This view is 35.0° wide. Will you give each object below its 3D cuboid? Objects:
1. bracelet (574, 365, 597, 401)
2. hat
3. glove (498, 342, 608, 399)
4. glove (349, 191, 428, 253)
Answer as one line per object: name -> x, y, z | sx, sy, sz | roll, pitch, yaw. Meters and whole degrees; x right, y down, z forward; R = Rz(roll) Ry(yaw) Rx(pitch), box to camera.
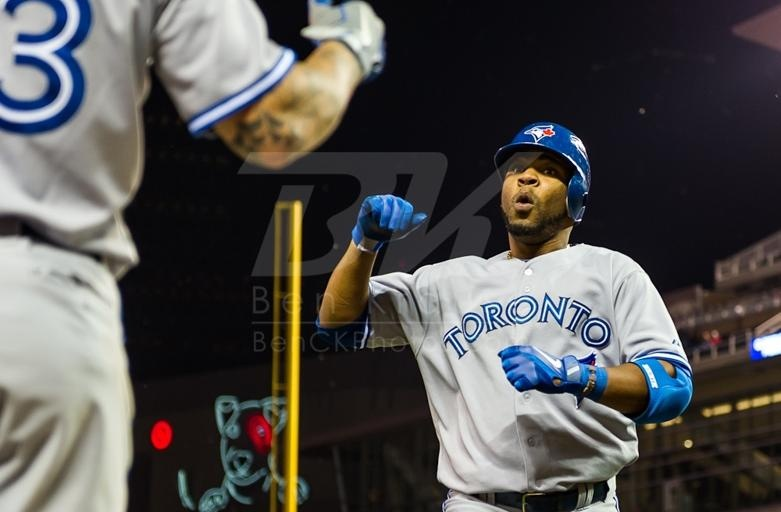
bracelet -> 0.991, 0.647, 6.253 | 0.133, 0.147, 0.148 | 4, -5, 9
hat -> 0.866, -0.484, 7.069 | 0.551, 0.531, 0.631 | 13, -11, 7
glove -> 0.826, 0.592, 6.307 | 0.415, 0.187, 0.289 | 6, 26, -19
glove -> -0.015, -0.159, 6.680 | 0.339, 0.354, 0.276 | 21, 12, -23
